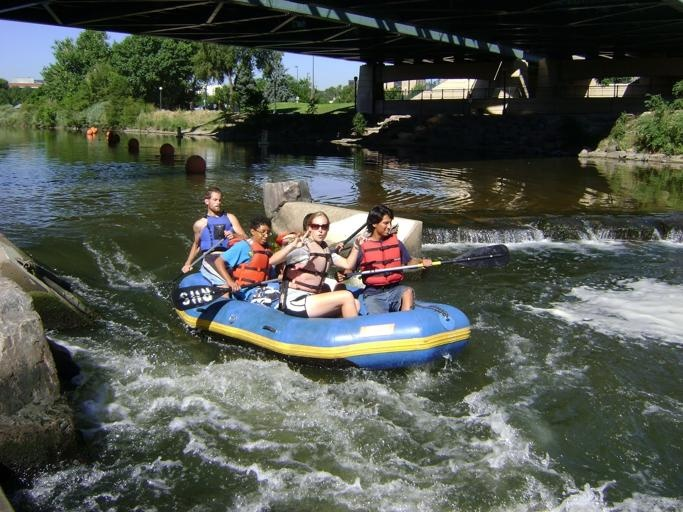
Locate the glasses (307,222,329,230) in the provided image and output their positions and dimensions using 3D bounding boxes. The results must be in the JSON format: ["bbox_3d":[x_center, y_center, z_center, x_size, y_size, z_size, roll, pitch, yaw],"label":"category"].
[{"bbox_3d":[-0.284,-0.364,6.554,0.223,0.105,0.118,-1,12,-11],"label":"glasses"}]

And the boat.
[{"bbox_3d":[-0.403,0.960,6.913,2.984,0.480,1.616,5,8,30],"label":"boat"}]
